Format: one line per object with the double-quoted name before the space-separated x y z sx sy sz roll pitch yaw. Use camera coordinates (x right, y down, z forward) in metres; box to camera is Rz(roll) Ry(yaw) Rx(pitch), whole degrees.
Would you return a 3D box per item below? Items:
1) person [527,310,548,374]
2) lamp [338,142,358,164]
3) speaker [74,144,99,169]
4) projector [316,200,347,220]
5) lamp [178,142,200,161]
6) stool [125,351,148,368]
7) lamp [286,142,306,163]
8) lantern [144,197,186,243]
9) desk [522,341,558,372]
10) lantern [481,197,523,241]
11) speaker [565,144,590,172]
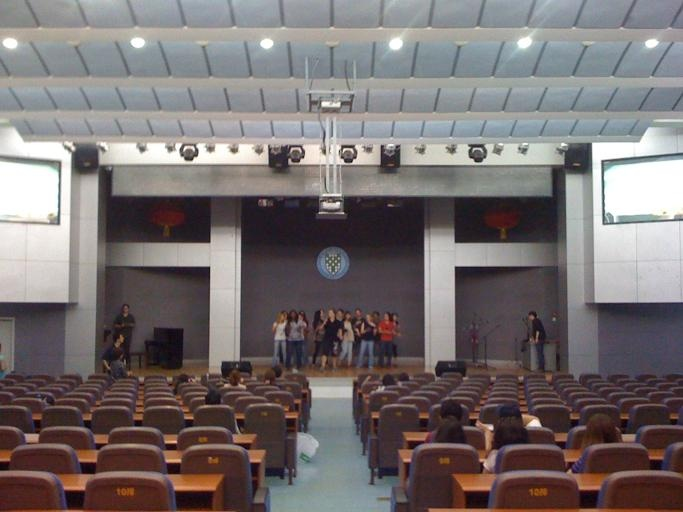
"person" 6.316 2.753 21.272 0.550 1.888 0.447 2 -8 -11
"lamp" 0.221 -3.014 19.683 0.385 0.506 0.528 0 -2 -3
"speaker" -7.845 -3.038 20.360 0.696 0.796 0.718 0 -3 -5
"projector" -0.239 -1.099 15.866 1.009 0.584 1.066 0 3 2
"lamp" -4.392 -2.984 19.157 0.553 0.567 0.231 3 4 8
"stool" -7.211 3.653 23.307 0.711 0.762 0.743 1 -4 -14
"lamp" -1.345 -3.019 19.901 0.375 0.509 0.538 1 17 -1
"lantern" -6.116 -1.268 23.281 1.225 1.399 1.298 2 -1 2
"desk" 6.432 3.268 21.527 0.819 1.106 1.239 6 -9 -37
"lantern" 5.709 -1.242 23.199 1.295 1.585 1.369 -1 -1 -15
"speaker" 7.256 -2.935 20.428 0.708 0.831 0.749 1 -5 3
